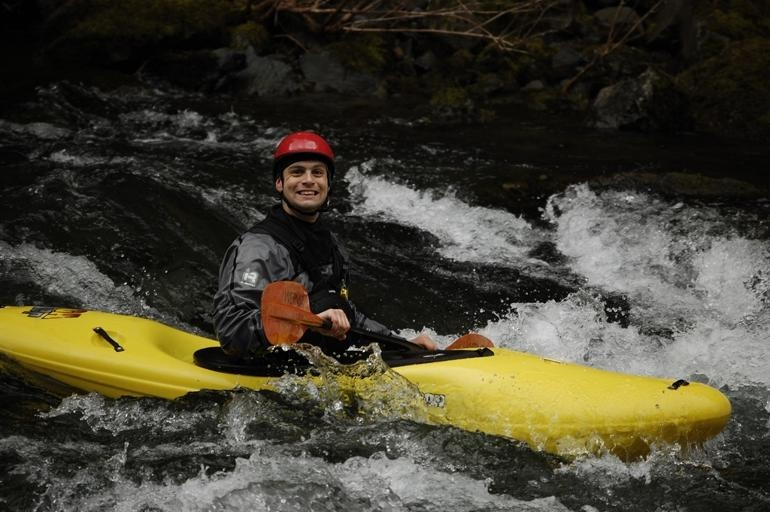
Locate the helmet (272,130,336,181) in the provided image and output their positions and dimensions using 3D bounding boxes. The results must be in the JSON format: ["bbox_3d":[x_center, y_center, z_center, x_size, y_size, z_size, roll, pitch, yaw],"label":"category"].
[{"bbox_3d":[-0.590,-0.727,6.042,0.487,0.345,0.518,-3,5,-3],"label":"helmet"}]

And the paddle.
[{"bbox_3d":[-0.027,0.418,5.549,1.594,0.631,0.352,-3,24,-13],"label":"paddle"}]

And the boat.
[{"bbox_3d":[-0.171,0.899,5.645,4.986,0.554,0.875,3,10,15],"label":"boat"}]
